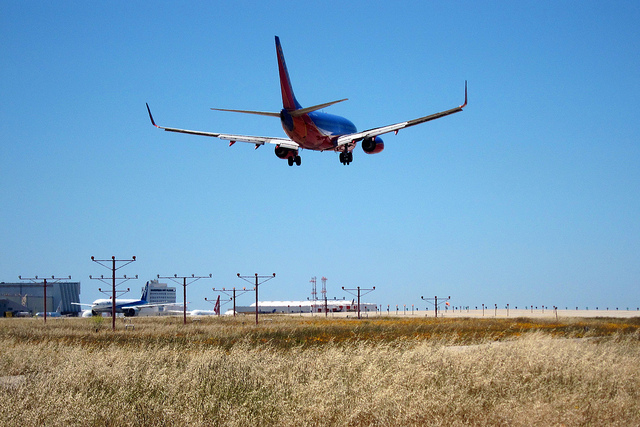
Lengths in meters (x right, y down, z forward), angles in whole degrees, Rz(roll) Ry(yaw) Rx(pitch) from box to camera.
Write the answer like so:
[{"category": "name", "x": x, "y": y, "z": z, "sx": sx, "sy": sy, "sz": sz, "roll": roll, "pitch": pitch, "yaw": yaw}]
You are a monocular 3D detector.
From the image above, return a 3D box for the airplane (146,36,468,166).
[{"category": "airplane", "x": -0.082, "y": -7.748, "z": 76.662, "sx": 23.391, "sy": 8.724, "sz": 19.132, "roll": -1, "pitch": 3, "yaw": 20}]

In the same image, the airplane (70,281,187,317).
[{"category": "airplane", "x": -27.859, "y": 12.141, "z": 148.621, "sx": 18.546, "sy": 5.939, "sz": 14.242, "roll": -5, "pitch": -8, "yaw": 28}]
